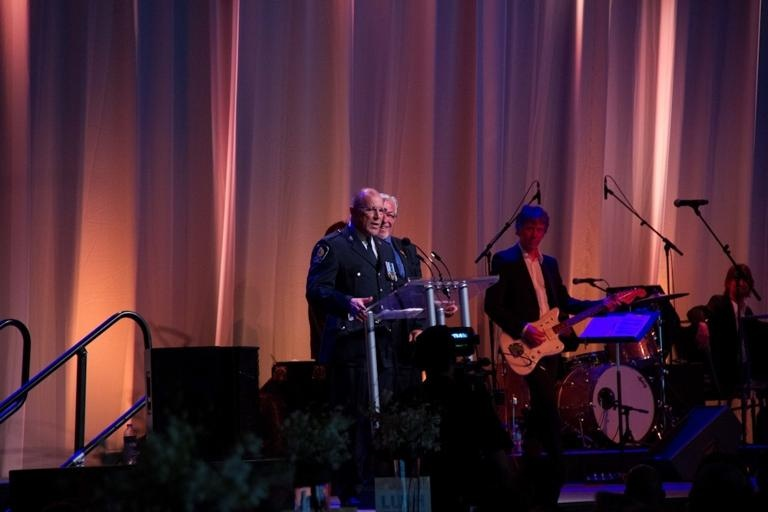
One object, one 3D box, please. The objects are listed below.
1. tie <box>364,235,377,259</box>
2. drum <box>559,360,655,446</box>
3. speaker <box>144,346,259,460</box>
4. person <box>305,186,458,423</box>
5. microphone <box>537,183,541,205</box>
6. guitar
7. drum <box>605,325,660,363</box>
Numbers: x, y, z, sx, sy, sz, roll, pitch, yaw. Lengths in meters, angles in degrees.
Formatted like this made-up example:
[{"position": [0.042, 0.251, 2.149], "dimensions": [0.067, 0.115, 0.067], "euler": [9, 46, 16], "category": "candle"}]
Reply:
[{"position": [-0.109, -0.074, 6.579], "dimensions": [0.106, 0.158, 0.042], "euler": [-16, -15, -38], "category": "tie"}, {"position": [1.911, 1.354, 7.767], "dimensions": [0.694, 0.699, 0.469], "euler": [3, -5, -42], "category": "drum"}, {"position": [-1.194, 0.870, 5.329], "dimensions": [0.829, 0.921, 0.647], "euler": [0, -2, 6], "category": "speaker"}, {"position": [-0.157, 0.334, 6.493], "dimensions": [0.784, 1.693, 0.849], "euler": [-7, -12, 23], "category": "person"}, {"position": [1.600, -0.642, 8.663], "dimensions": [0.052, 0.242, 0.060], "euler": [0, 5, -5], "category": "microphone"}, {"position": [1.585, 0.684, 7.325], "dimensions": [1.160, 0.690, 0.272], "euler": [0, -11, -16], "category": "guitar"}, {"position": [2.360, 0.877, 7.927], "dimensions": [0.322, 0.264, 0.337], "euler": [-16, -9, -3], "category": "drum"}]
